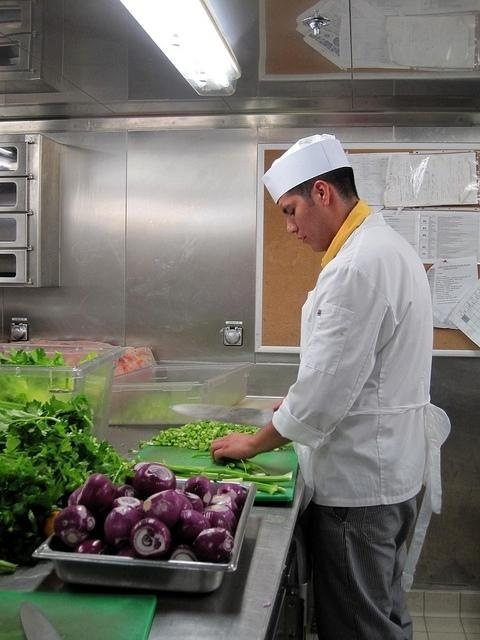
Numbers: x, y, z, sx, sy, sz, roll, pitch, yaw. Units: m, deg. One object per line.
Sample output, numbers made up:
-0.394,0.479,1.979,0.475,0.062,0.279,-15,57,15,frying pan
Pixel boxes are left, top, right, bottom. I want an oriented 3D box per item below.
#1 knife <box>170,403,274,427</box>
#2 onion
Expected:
-0.093,0.298,1.710,0.450,0.040,0.100,2,39,1,knife
-0.118,0.268,0.843,0.252,0.099,0.314,2,5,6,onion
